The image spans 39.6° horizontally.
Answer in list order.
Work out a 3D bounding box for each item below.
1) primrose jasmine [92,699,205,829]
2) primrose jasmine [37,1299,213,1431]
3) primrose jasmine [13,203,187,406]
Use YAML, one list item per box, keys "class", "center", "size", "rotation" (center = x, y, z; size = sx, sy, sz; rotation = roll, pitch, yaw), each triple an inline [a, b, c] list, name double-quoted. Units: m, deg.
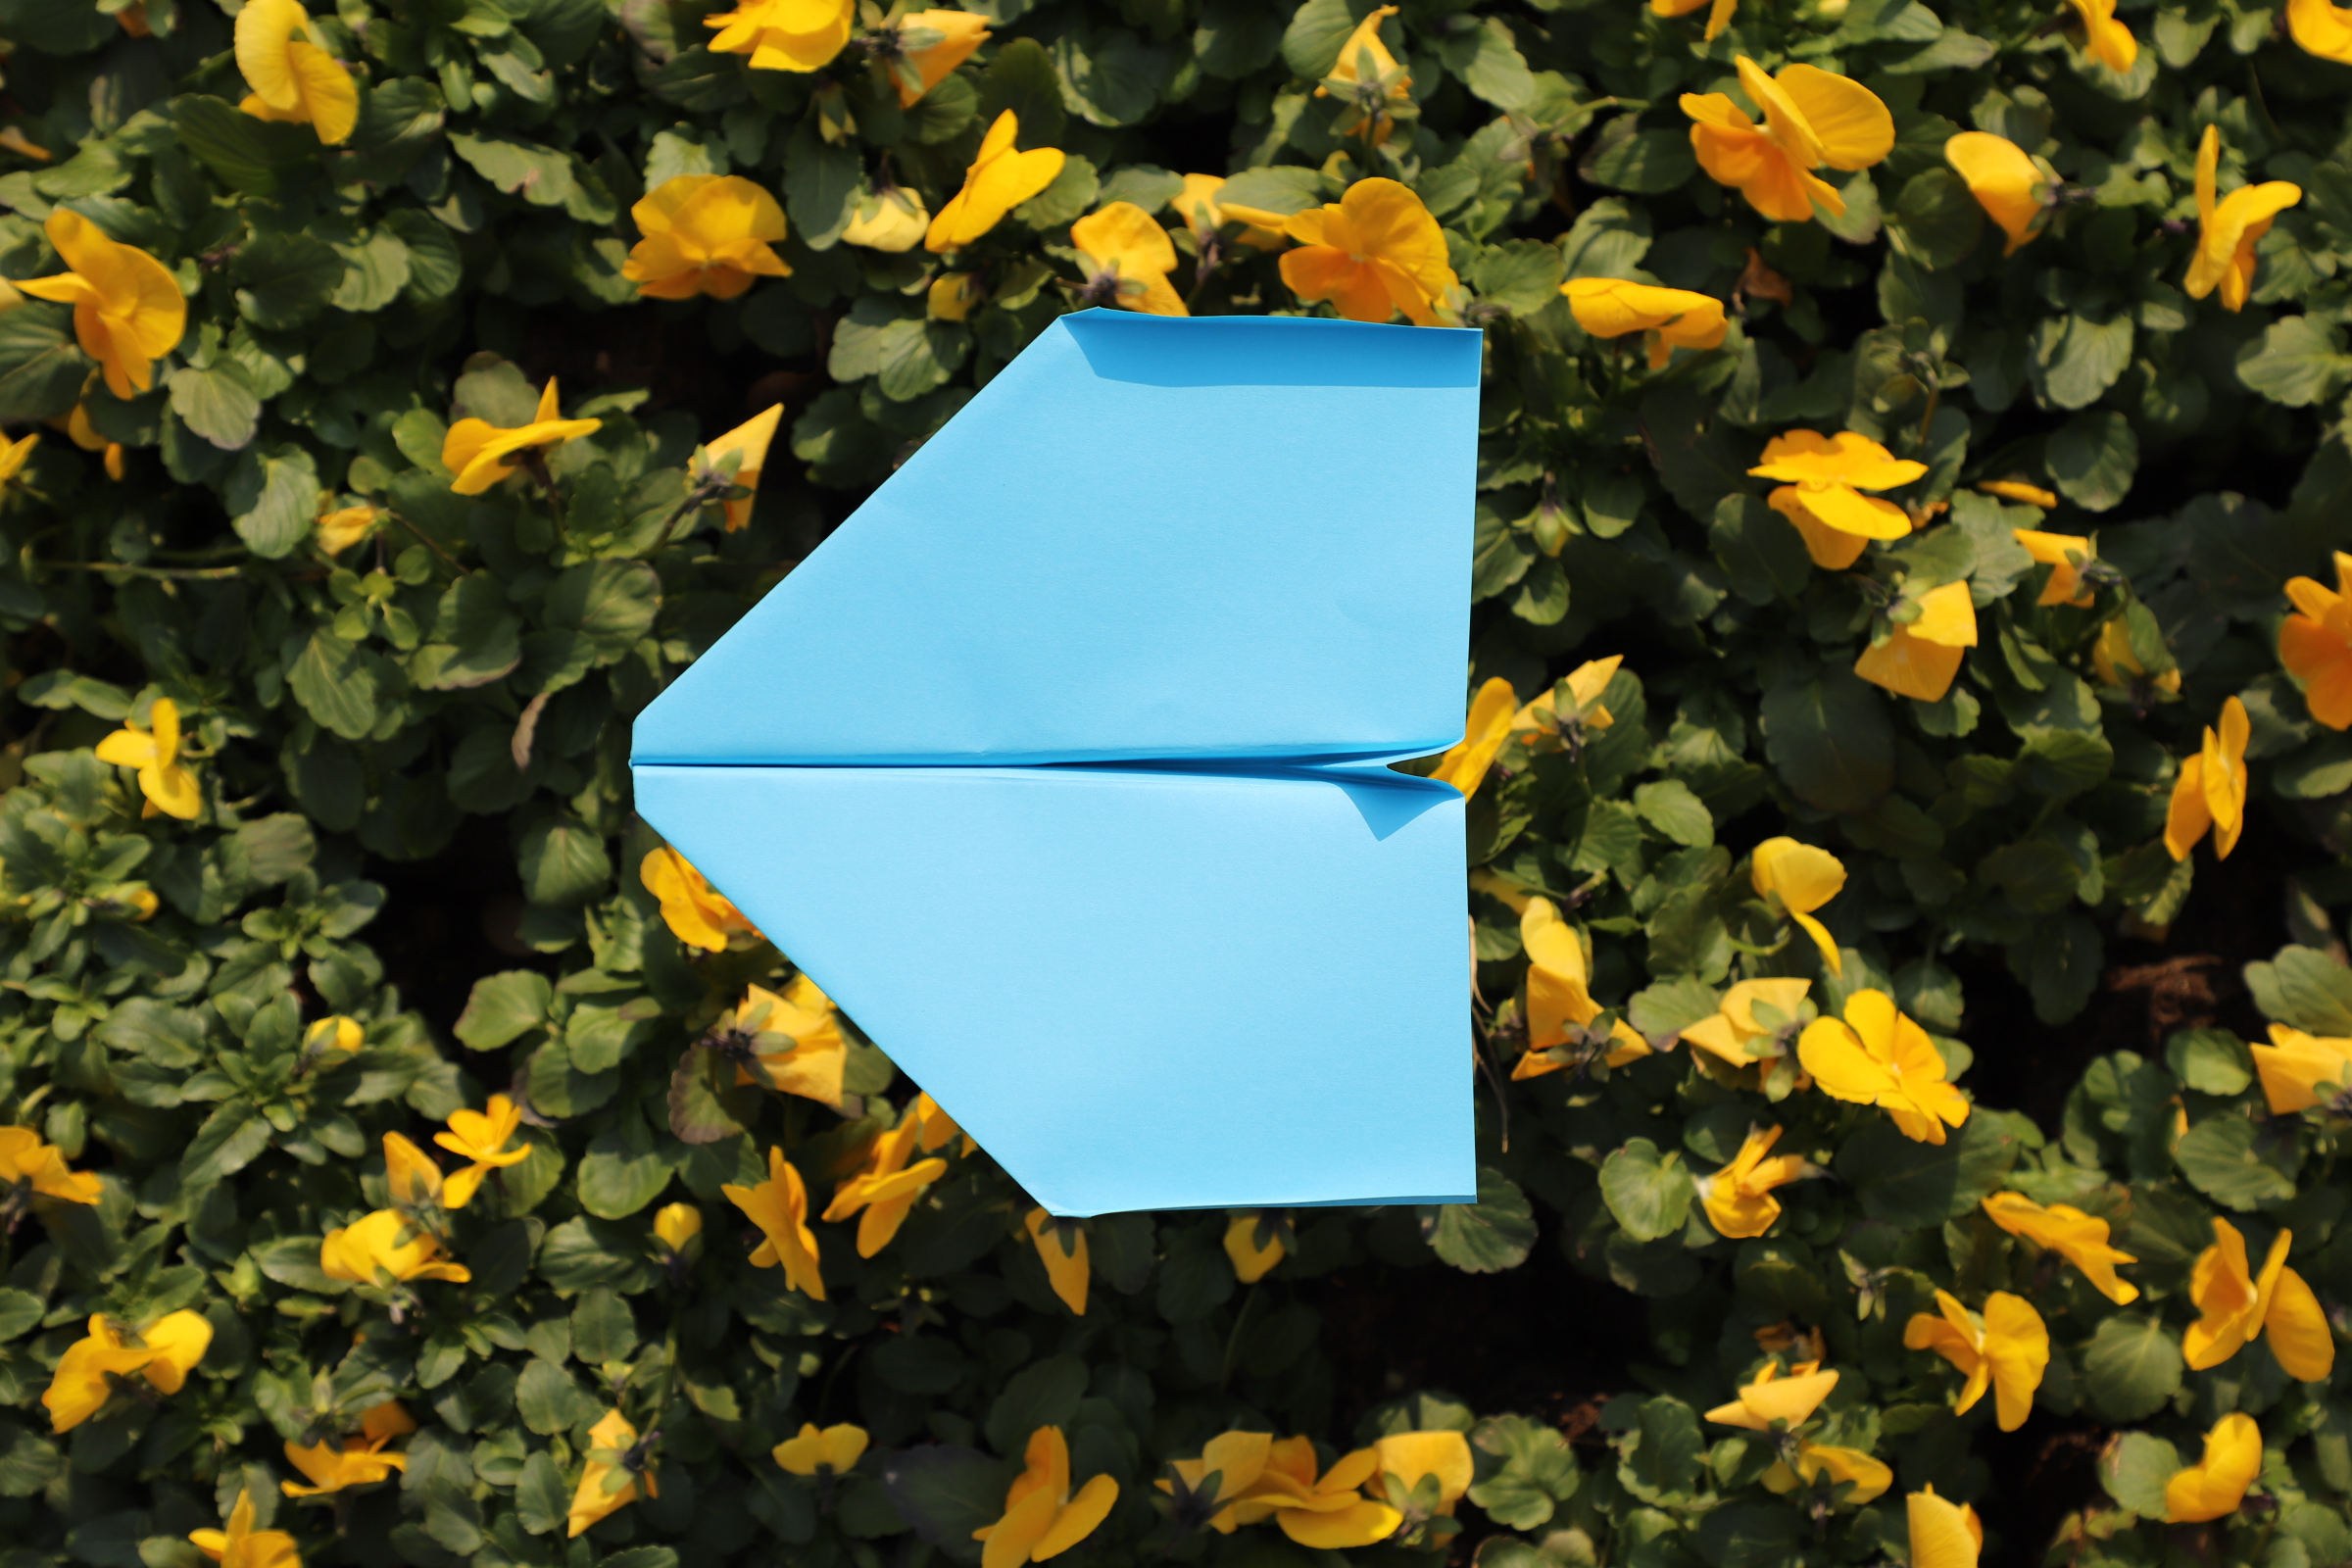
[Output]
- class: "primrose jasmine"
  center: [-1.268, -0.017, 4.062]
  size: [0.110, 0.092, 0.138]
  rotation: [-30, 82, -4]
- class: "primrose jasmine"
  center: [-1.298, 0.710, 4.026]
  size: [0.071, 0.176, 0.139]
  rotation: [39, 89, 14]
- class: "primrose jasmine"
  center: [-1.299, -0.585, 3.970]
  size: [0.174, 0.149, 0.153]
  rotation: [38, 83, 6]
